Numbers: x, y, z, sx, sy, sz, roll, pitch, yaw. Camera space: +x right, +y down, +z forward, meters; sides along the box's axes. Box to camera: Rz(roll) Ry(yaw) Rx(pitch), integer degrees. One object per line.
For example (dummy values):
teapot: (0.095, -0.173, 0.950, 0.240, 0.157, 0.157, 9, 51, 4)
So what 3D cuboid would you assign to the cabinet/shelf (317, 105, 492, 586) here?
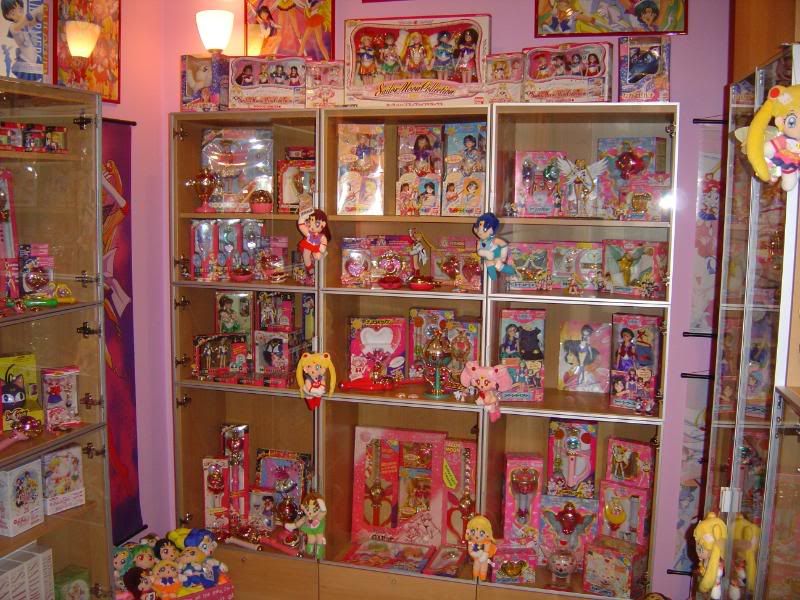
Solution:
cabinet/shelf: (0.041, 0.212, 3.754, 0.900, 2.391, 0.532, 1, 7, 8)

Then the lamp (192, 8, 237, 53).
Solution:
lamp: (-1.015, -1.477, 3.881, 0.253, 0.277, 0.282, 0, 19, -15)

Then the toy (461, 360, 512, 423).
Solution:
toy: (0.433, 0.466, 3.548, 0.250, 0.302, 0.146, -2, 7, -16)

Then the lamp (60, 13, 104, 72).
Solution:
lamp: (-1.610, -1.288, 3.519, 0.191, 0.225, 0.191, 5, 4, 42)

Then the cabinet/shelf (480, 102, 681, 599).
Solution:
cabinet/shelf: (0.894, 0.256, 3.586, 0.892, 2.452, 0.646, 3, 7, 22)

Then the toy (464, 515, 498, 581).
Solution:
toy: (0.424, 1.258, 3.615, 0.161, 0.345, 0.230, 1, 7, 9)

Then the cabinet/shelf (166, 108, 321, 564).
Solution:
cabinet/shelf: (-0.848, 0.170, 3.907, 0.844, 2.367, 0.544, 0, 6, -1)

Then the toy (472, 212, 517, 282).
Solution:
toy: (0.496, -0.268, 3.540, 0.150, 0.338, 0.270, 6, 9, 41)

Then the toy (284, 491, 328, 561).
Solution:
toy: (-0.515, 1.202, 3.809, 0.222, 0.361, 0.265, 0, 7, -5)
